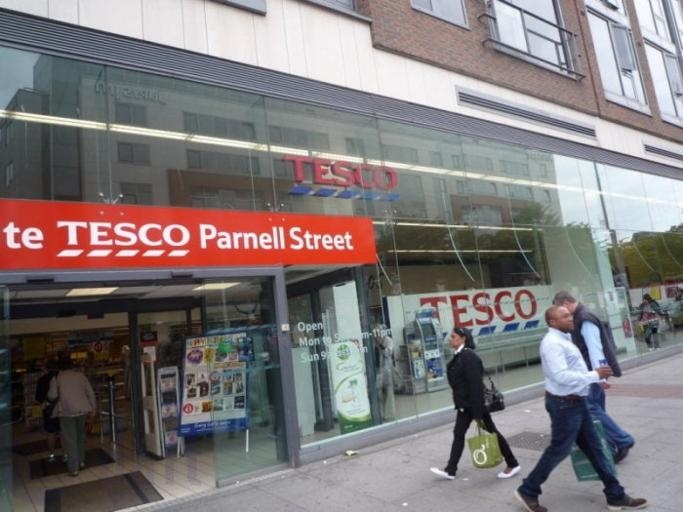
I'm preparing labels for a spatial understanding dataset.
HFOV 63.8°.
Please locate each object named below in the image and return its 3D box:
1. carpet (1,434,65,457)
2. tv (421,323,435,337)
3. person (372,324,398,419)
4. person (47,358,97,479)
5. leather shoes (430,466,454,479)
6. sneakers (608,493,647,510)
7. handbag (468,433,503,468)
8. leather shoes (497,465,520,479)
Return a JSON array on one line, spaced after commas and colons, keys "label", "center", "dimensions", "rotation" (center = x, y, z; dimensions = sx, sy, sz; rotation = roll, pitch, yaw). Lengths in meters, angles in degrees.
[{"label": "carpet", "center": [-6.923, 4.278, 12.292], "dimensions": [0.824, 0.032, 0.914], "rotation": [1, 1, 4]}, {"label": "tv", "center": [1.681, 1.449, 10.752], "dimensions": [0.240, 0.211, 0.123], "rotation": [10, -25, -39]}, {"label": "person", "center": [0.818, 2.118, 10.108], "dimensions": [0.465, 1.738, 0.105], "rotation": [-4, -8, -36]}, {"label": "person", "center": [-4.970, 2.884, 10.232], "dimensions": [0.753, 2.155, 0.806], "rotation": [-2, -9, -44]}, {"label": "leather shoes", "center": [1.409, 3.055, 7.760], "dimensions": [0.338, 0.129, 0.123], "rotation": [13, -9, 29]}, {"label": "sneakers", "center": [3.349, 2.890, 6.504], "dimensions": [0.473, 0.184, 0.183], "rotation": [-4, -10, 6]}, {"label": "handbag", "center": [1.909, 2.580, 7.277], "dimensions": [0.386, 0.479, 0.284], "rotation": [-10, -7, 13]}, {"label": "leather shoes", "center": [2.302, 2.957, 7.567], "dimensions": [0.356, 0.137, 0.134], "rotation": [-19, -18, -16]}]
